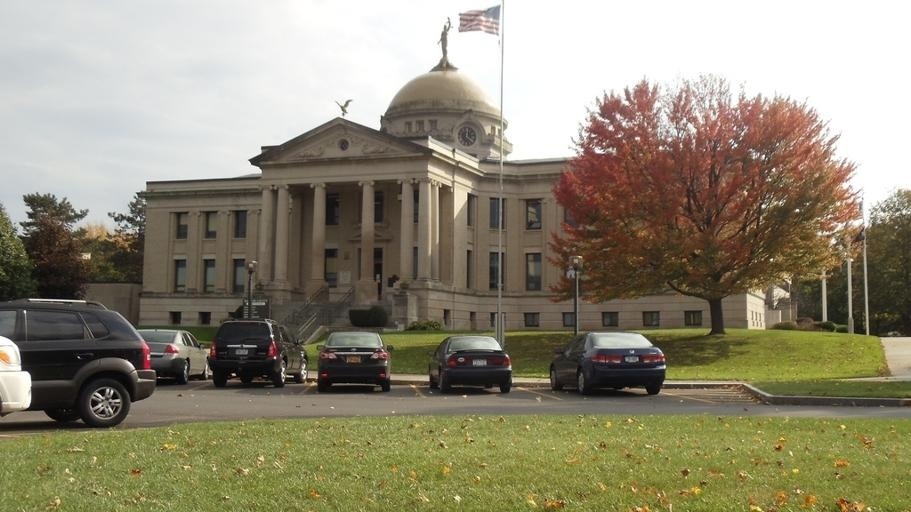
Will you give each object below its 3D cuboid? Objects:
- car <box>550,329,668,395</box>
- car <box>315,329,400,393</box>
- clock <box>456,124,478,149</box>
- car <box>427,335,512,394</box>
[{"bbox_3d":[5.146,3.718,32.204,2.168,2.187,3.687,6,-10,-40],"label":"car"},{"bbox_3d":[-3.659,3.785,32.951,2.468,2.089,0.959,1,-7,-12],"label":"car"},{"bbox_3d":[0.817,-9.394,72.571,2.351,2.155,0.546,-4,-20,-12],"label":"clock"},{"bbox_3d":[0.530,3.833,32.847,2.849,2.027,1.730,-2,-7,9],"label":"car"}]
